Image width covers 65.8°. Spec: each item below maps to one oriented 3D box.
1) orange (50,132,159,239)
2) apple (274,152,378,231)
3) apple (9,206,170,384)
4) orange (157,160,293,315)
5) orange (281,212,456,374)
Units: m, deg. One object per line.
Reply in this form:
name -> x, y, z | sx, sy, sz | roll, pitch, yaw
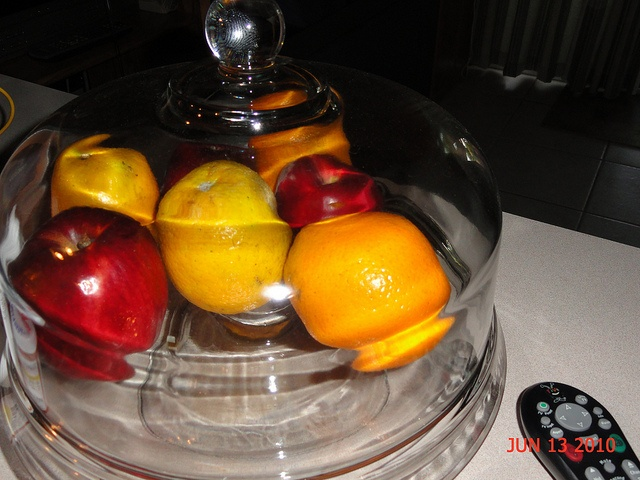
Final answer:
orange -> -0.189, -0.057, 0.462 | 0.076, 0.094, 0.087 | -2, 29, -13
apple -> -0.006, -0.038, 0.445 | 0.061, 0.064, 0.069 | -26, 56, 35
apple -> -0.175, 0.041, 0.453 | 0.118, 0.141, 0.127 | 9, 30, 31
orange -> -0.078, -0.007, 0.452 | 0.103, 0.134, 0.102 | -13, 5, -37
orange -> 0.036, 0.047, 0.413 | 0.130, 0.110, 0.076 | -5, 44, -2
